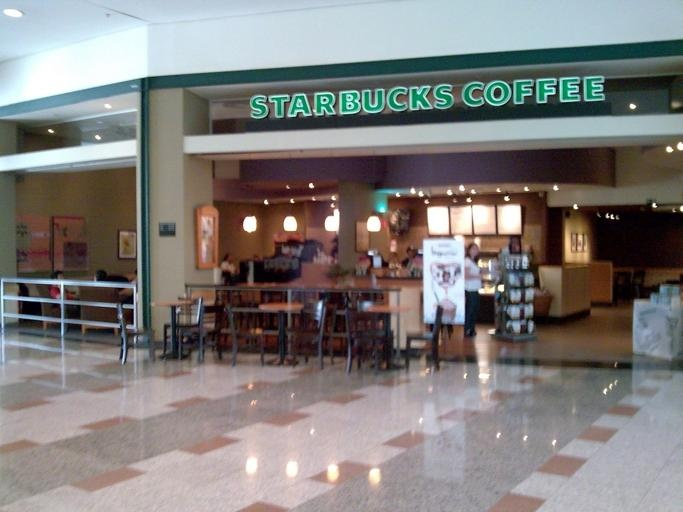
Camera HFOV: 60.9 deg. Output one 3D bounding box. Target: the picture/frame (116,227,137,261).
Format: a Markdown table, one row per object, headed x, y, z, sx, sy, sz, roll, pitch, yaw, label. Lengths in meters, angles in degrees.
| x | y | z | sx | sy | sz | roll | pitch | yaw | label |
| --- | --- | --- | --- | --- | --- | --- | --- | --- | --- |
| -5.985 | -0.328 | 16.008 | 0.062 | 0.945 | 0.897 | -1 | 1 | 19 | picture/frame |

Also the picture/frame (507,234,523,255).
| x | y | z | sx | sy | sz | roll | pitch | yaw | label |
| --- | --- | --- | --- | --- | --- | --- | --- | --- | --- |
| 4.336 | -0.295 | 14.529 | 0.454 | 0.655 | 0.338 | 3 | 2 | 22 | picture/frame |

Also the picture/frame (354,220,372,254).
| x | y | z | sx | sy | sz | roll | pitch | yaw | label |
| --- | --- | --- | --- | --- | --- | --- | --- | --- | --- |
| 0.502 | -0.462 | 14.015 | 0.024 | 0.553 | 0.735 | 2 | 8 | 23 | picture/frame |

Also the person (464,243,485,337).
| x | y | z | sx | sy | sz | roll | pitch | yaw | label |
| --- | --- | --- | --- | --- | --- | --- | --- | --- | --- |
| 2.447 | 0.640 | 10.822 | 0.290 | 1.743 | 0.515 | 0 | 4 | 13 | person |

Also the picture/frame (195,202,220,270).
| x | y | z | sx | sy | sz | roll | pitch | yaw | label |
| --- | --- | --- | --- | --- | --- | --- | --- | --- | --- |
| -2.475 | -0.337 | 10.633 | 0.222 | 1.223 | 0.626 | 0 | 4 | 11 | picture/frame |
